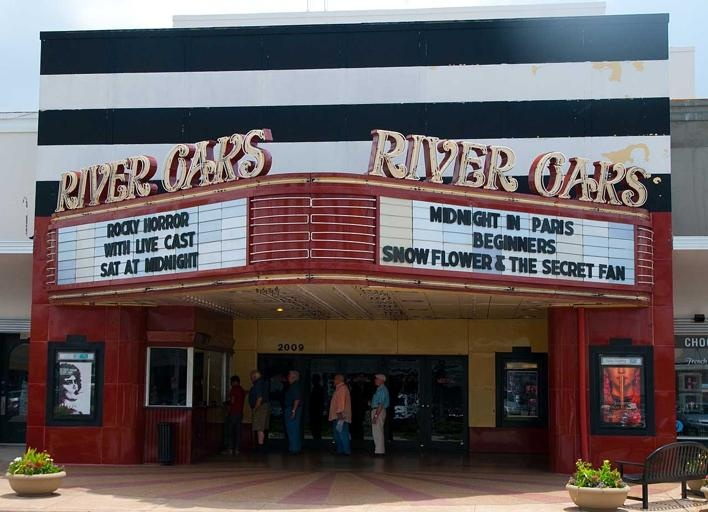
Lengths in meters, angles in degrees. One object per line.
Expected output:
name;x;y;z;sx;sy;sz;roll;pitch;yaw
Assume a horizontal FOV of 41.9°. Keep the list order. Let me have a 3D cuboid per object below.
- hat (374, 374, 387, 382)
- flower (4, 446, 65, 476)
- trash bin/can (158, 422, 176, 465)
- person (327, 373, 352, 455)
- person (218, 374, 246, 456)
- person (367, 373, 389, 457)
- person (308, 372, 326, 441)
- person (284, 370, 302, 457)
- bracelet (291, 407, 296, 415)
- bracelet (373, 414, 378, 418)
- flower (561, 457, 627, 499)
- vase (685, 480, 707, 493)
hat;0.815;3.486;26.402;0.202;0.123;0.291;6;-16;27
flower;-7.574;4.919;22.162;1.310;0.743;1.275;1;-4;-7
trash bin/can;-4.903;4.959;24.429;0.450;1.092;0.378;0;-9;-11
person;-0.360;4.480;26.170;0.568;2.241;0.809;-2;-9;0
person;-3.462;4.643;27.058;0.529;2.220;1.349;0;-9;-8
person;0.786;4.512;26.294;0.466;2.281;0.757;-2;-9;0
person;-1.090;4.620;28.248;0.497;2.022;0.186;-1;-9;-4
person;-1.694;4.477;26.510;0.476;2.324;0.929;-1;-9;-4
bracelet;-1.668;4.397;26.097;0.105;0.151;0.057;0;-3;19
bracelet;0.636;4.499;26.007;0.054;0.077;0.082;34;42;18
flower;5.044;4.788;19.768;0.992;0.678;0.972;4;-13;-18
vase;7.745;5.188;20.908;0.371;0.287;0.356;1;-1;-26
